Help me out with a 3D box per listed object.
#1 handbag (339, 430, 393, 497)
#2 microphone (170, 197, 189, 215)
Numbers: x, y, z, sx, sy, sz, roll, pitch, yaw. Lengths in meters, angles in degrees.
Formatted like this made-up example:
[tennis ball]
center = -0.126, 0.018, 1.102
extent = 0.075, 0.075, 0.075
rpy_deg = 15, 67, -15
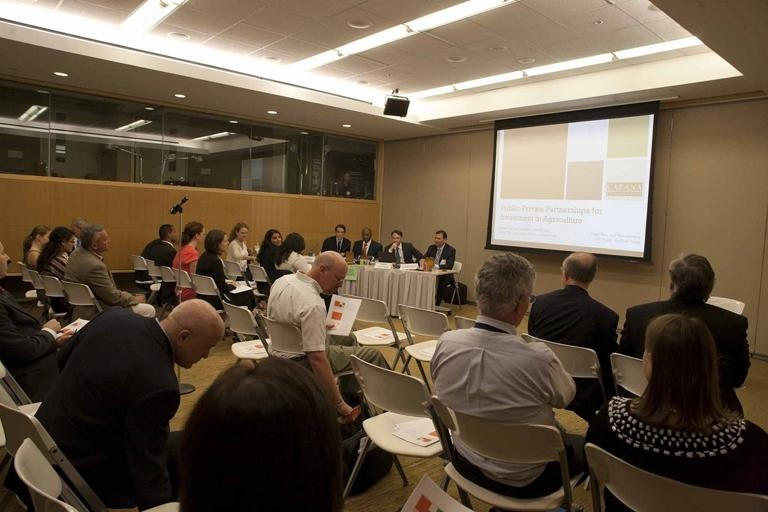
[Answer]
[handbag]
center = -0.132, 1.498, 3.616
extent = 0.165, 0.434, 0.586
rpy_deg = 5, 6, 37
[microphone]
center = -3.691, -0.919, 8.864
extent = 0.254, 0.170, 0.606
rpy_deg = 13, -28, -39
